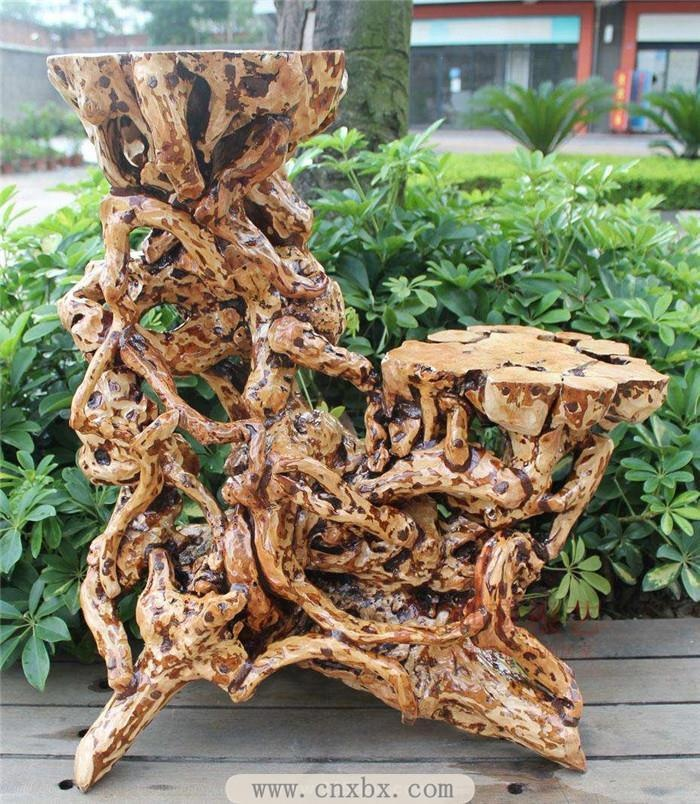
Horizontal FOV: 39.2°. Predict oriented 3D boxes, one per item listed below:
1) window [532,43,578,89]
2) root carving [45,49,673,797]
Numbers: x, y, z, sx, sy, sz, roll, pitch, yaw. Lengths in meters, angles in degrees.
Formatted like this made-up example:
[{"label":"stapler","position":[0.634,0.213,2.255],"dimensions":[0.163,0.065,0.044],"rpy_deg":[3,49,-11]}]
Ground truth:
[{"label":"window","position":[0.525,-0.866,2.517],"dimensions":[0.139,0.097,0.029],"rpy_deg":[7,24,26]},{"label":"root carving","position":[-0.008,0.009,1.872],"dimensions":[1.143,1.312,0.662],"rpy_deg":[-2,25,4]}]
